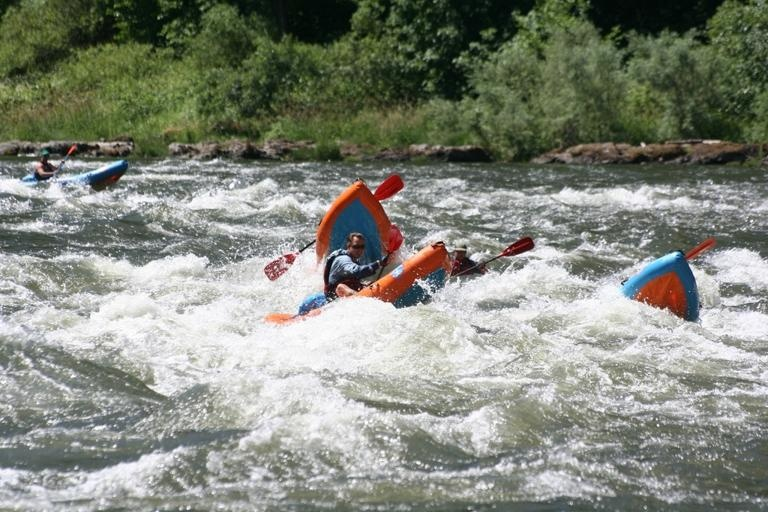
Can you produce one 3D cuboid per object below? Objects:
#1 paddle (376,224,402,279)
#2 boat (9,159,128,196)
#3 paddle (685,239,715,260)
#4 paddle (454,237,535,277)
[{"bbox_3d":[0.168,-0.151,25.241,0.498,0.232,1.769,4,-21,-7],"label":"paddle"},{"bbox_3d":[-9.494,-2.281,31.520,3.841,0.799,1.105,-10,-11,8],"label":"boat"},{"bbox_3d":[7.959,-0.159,26.896,0.993,0.216,0.066,-31,13,-3],"label":"paddle"},{"bbox_3d":[2.810,0.046,27.007,2.387,0.328,0.195,-26,-9,35],"label":"paddle"}]
